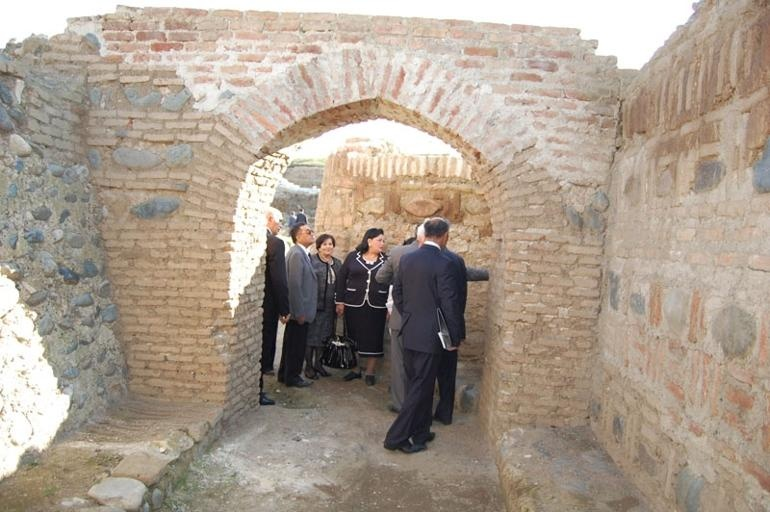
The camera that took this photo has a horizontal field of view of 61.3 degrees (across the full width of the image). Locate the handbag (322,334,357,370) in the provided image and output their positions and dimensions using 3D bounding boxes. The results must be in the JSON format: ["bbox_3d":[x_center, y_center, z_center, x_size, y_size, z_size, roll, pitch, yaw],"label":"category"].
[{"bbox_3d":[-0.525,1.142,7.898,0.473,0.488,0.257,6,1,30],"label":"handbag"}]

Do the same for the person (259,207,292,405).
[{"bbox_3d":[-1.259,0.526,7.339,0.360,2.209,0.918,7,-1,-10],"label":"person"}]

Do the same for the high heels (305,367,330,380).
[{"bbox_3d":[-0.807,1.430,7.910,0.342,0.134,0.112,-2,3,-8],"label":"high heels"}]

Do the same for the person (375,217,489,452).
[{"bbox_3d":[0.358,0.749,6.220,0.700,2.176,0.336,6,-1,12],"label":"person"}]

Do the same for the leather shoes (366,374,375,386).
[{"bbox_3d":[-0.179,1.490,7.797,0.107,0.079,0.206,-1,-12,-3],"label":"leather shoes"}]
